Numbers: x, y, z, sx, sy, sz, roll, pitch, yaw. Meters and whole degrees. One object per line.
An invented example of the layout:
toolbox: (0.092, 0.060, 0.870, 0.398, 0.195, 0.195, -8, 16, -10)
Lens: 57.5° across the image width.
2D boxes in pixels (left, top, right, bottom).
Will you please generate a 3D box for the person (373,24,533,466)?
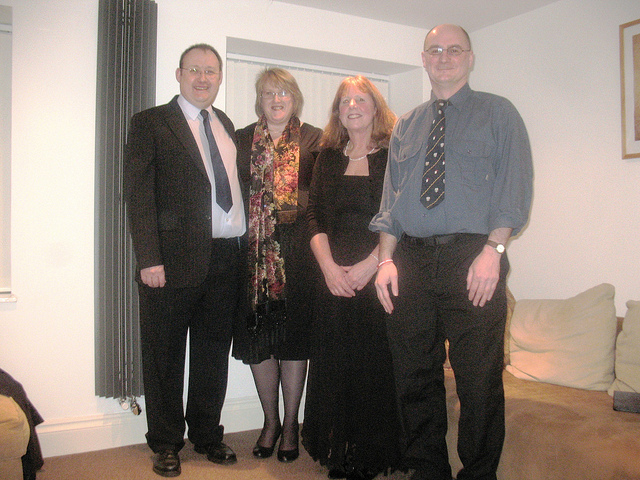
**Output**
person: (0.743, 0.039, 3.282, 0.770, 2.245, 1.364, 1, 7, 19)

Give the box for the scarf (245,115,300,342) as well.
scarf: (-0.276, -0.085, 3.388, 0.333, 1.278, 0.316, -1, 7, -1)

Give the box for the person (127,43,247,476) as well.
person: (-0.724, 0.105, 3.291, 0.647, 2.385, 0.327, -4, 7, -19)

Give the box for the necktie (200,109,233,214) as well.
necktie: (-0.567, -0.395, 3.275, 0.109, 0.791, 0.067, -11, -11, -3)

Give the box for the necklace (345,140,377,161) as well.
necklace: (0.217, -0.494, 3.216, 0.184, 0.109, 0.087, 3, 8, 30)

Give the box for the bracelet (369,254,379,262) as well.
bracelet: (0.282, 0.094, 3.062, 0.052, 0.006, 0.006, 44, 44, 9)

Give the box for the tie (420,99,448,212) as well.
tie: (0.540, -0.405, 2.763, 0.116, 0.517, 0.153, 1, 7, 15)
